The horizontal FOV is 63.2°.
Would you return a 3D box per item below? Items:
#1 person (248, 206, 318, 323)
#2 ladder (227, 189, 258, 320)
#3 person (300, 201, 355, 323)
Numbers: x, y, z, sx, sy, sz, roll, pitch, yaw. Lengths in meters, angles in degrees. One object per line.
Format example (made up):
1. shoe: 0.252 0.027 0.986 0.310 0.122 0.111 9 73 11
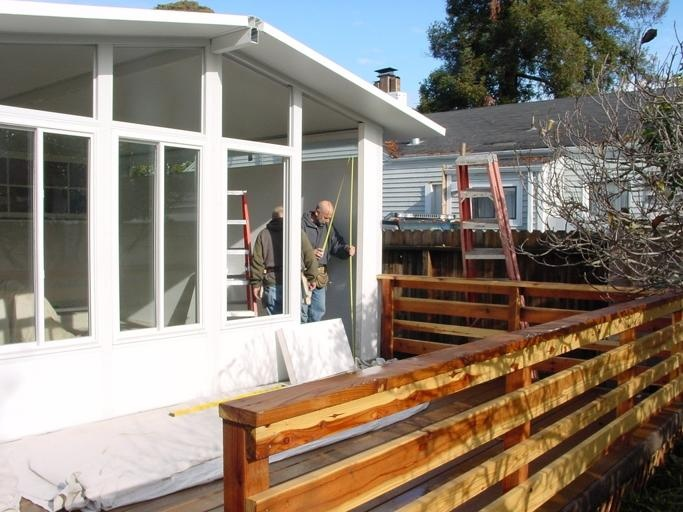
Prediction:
1. person: -0.662 0.036 6.171 0.381 1.164 0.856 6 11 26
2. ladder: -1.143 0.015 6.104 0.237 1.400 0.330 -5 -9 -20
3. person: -0.252 0.283 6.912 0.613 1.832 0.673 2 4 -35
